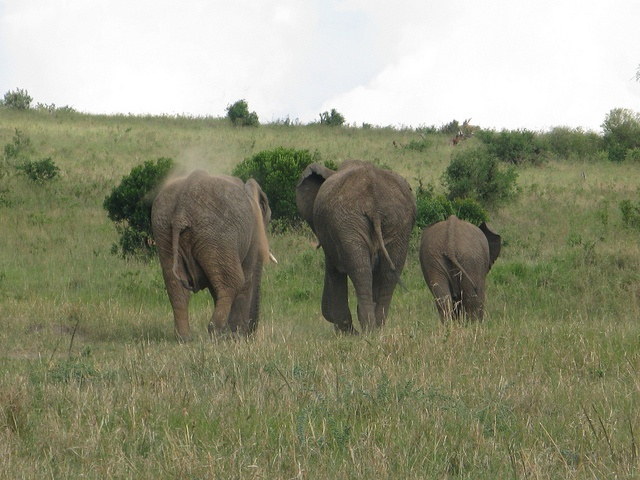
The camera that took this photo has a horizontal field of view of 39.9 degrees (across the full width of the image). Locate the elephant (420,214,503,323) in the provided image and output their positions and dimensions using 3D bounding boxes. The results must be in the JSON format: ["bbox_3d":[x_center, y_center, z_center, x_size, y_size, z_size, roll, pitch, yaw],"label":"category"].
[{"bbox_3d":[2.646,0.698,16.203,1.224,2.124,3.068,0,-2,15],"label":"elephant"}]

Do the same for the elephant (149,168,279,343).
[{"bbox_3d":[-1.714,0.267,15.728,1.502,3.051,3.444,1,2,15],"label":"elephant"}]

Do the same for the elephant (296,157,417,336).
[{"bbox_3d":[0.647,0.074,16.405,1.872,3.087,3.320,0,2,-11],"label":"elephant"}]
